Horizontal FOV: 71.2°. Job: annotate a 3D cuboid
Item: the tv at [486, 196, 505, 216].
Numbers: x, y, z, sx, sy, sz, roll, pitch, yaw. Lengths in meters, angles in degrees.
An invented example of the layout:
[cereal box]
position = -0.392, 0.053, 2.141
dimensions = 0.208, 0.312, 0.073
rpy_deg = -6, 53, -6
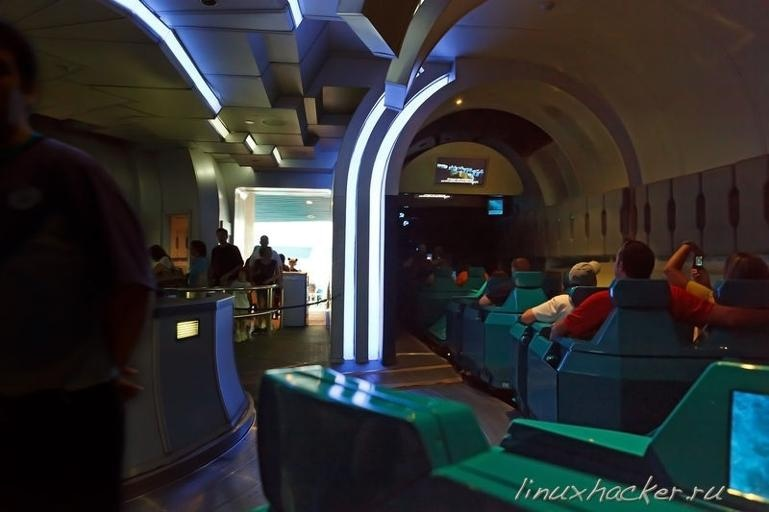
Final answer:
[tv]
position = 2.244, -1.008, 10.774
dimensions = 0.336, 0.362, 0.374
rpy_deg = -2, 7, 9
